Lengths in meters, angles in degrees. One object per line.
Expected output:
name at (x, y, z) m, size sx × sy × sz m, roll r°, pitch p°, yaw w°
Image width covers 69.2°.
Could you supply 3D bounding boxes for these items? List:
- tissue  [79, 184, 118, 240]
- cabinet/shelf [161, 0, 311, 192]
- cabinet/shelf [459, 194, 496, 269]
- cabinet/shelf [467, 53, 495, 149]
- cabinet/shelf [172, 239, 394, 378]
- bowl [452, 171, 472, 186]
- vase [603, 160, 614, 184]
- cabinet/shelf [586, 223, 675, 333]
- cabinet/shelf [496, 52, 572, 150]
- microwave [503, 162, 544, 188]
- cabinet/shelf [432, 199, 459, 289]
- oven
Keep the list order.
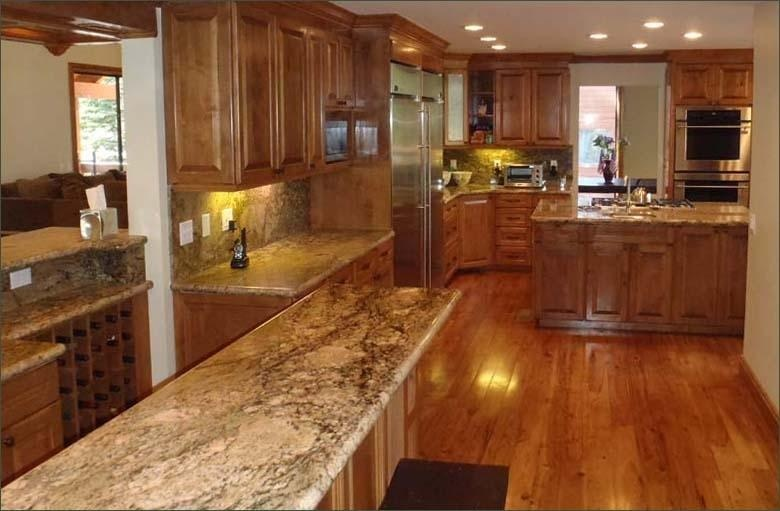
tissue  at (-2.077, -0.302, 3.952) m, size 0.304 × 0.364 × 0.166 m, roll 4°, pitch 14°, yaw 25°
cabinet/shelf at (-1.100, -1.114, 3.872) m, size 0.501 × 1.100 × 1.380 m, roll 3°, pitch 12°, yaw 15°
cabinet/shelf at (1.227, -0.349, 7.972) m, size 0.581 × 0.994 × 0.139 m, roll -12°, pitch 16°, yaw -37°
cabinet/shelf at (1.326, -2.261, 8.293) m, size 0.383 × 1.244 × 0.359 m, roll -1°, pitch 13°, yaw 7°
cabinet/shelf at (-0.793, 0.340, 4.704) m, size 0.911 × 0.700 × 1.893 m, roll 3°, pitch 13°, yaw 20°
bowl at (1.068, -1.170, 8.503) m, size 0.269 × 0.182 × 0.257 m, roll 0°, pitch 15°, yaw 0°
vase at (3.675, -1.410, 9.556) m, size 0.285 × 0.414 × 0.123 m, roll -11°, pitch 16°, yaw -35°
cabinet/shelf at (2.423, 0.189, 5.754) m, size 0.821 × 0.995 × 0.212 m, roll -2°, pitch 13°, yaw 1°
cabinet/shelf at (2.046, -2.262, 8.064) m, size 1.305 × 1.160 × 0.647 m, roll 0°, pitch 10°, yaw 4°
microwave at (1.905, -1.146, 8.145) m, size 0.540 × 0.319 × 0.247 m, roll 1°, pitch 13°, yaw 11°
cabinet/shelf at (0.672, -0.158, 7.115) m, size 0.515 × 1.002 × 1.072 m, roll 0°, pitch 13°, yaw 8°
oven at (4.405, -1.216, 8.173) m, size 1.190 × 1.678 × 0.995 m, roll 1°, pitch 2°, yaw 7°
